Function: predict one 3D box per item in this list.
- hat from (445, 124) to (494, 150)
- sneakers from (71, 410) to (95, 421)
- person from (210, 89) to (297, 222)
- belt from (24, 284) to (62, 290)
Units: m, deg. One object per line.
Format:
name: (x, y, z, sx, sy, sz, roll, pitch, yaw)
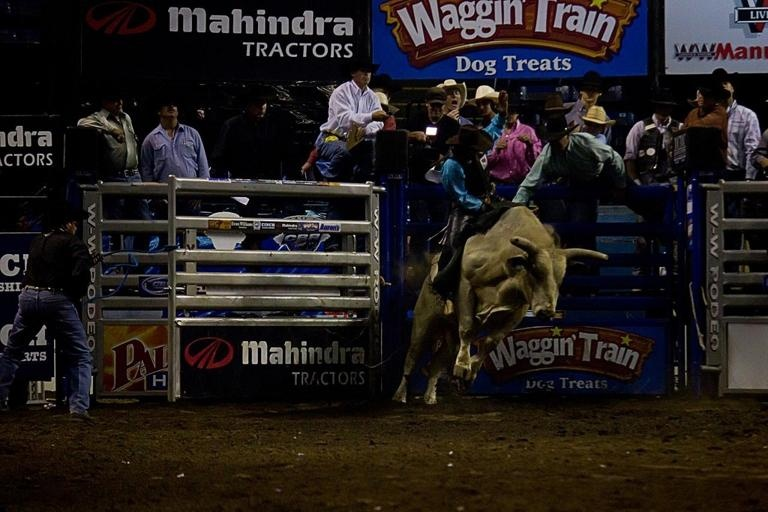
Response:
hat: (1.265, -1.691, 17.190, 0.480, 0.163, 0.405, 1, 21, -7)
sneakers: (-4.224, 2.238, 16.670, 0.340, 0.119, 0.134, 11, -9, 2)
person: (-2.233, -1.994, 19.626, 1.174, 1.430, 0.532, -1, 3, -8)
belt: (-4.800, 0.448, 16.765, 0.519, 0.097, 0.112, 0, 3, 11)
